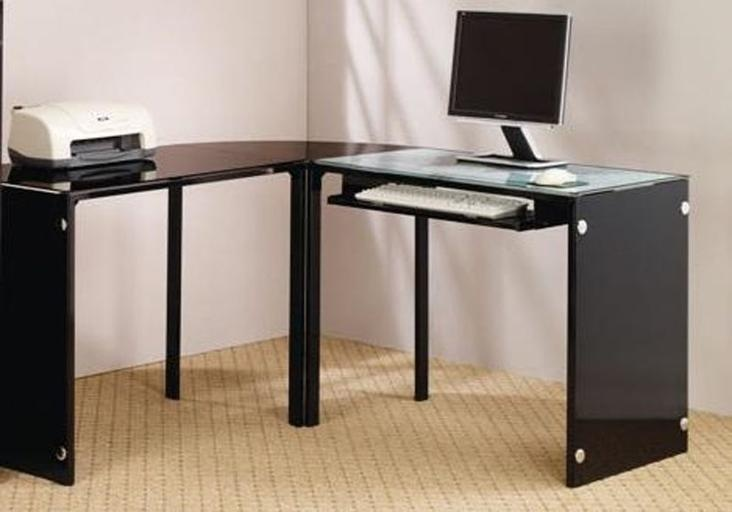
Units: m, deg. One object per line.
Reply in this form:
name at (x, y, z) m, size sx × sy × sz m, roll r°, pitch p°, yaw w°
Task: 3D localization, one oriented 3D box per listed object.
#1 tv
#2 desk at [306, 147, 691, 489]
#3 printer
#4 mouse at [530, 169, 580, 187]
tv at (0.527, -0.714, 2.442) m, size 0.473 × 0.432 × 0.096 m, roll 10°, pitch 15°, yaw 40°
desk at (0.452, 0.212, 2.626) m, size 0.778 × 1.112 × 1.277 m, roll -2°, pitch 3°, yaw -43°
printer at (-1.040, -0.418, 2.367) m, size 0.388 × 0.284 × 0.507 m, roll 8°, pitch 14°, yaw 38°
mouse at (0.608, -0.249, 2.072) m, size 0.166 × 0.048 × 0.098 m, roll -1°, pitch 12°, yaw -5°
